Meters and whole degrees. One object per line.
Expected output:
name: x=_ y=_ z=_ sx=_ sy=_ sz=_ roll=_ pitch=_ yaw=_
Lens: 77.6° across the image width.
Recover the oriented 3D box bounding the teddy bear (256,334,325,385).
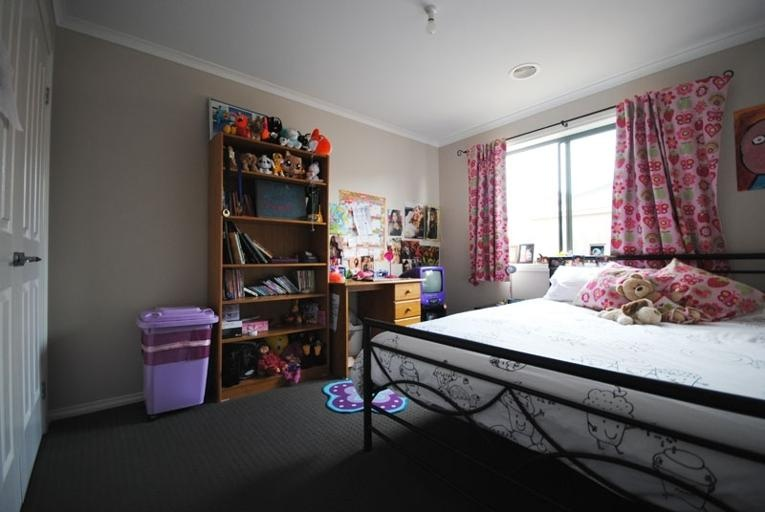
teddy bear: x=-0.859 y=0.939 z=4.383 sx=0.359 sy=0.232 sz=0.492 roll=-1 pitch=-4 yaw=30

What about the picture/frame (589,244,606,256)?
picture/frame: x=2.113 y=-0.060 z=4.703 sx=0.038 sy=0.104 sz=0.107 roll=6 pitch=-5 yaw=-36

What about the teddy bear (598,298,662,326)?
teddy bear: x=1.899 y=0.411 z=3.633 sx=0.284 sy=0.125 sz=0.206 roll=-2 pitch=1 yaw=32

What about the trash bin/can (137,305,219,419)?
trash bin/can: x=-1.656 y=0.775 z=4.067 sx=0.770 sy=1.079 sz=0.721 roll=0 pitch=0 yaw=-41

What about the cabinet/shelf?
cabinet/shelf: x=-1.018 y=0.063 z=4.353 sx=1.130 sy=2.240 sz=0.518 roll=-2 pitch=2 yaw=-22

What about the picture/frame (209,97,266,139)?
picture/frame: x=-1.312 y=-1.224 z=4.270 sx=0.450 sy=0.337 sz=0.034 roll=10 pitch=-27 yaw=-39

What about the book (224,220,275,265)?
book: x=-1.166 y=-0.104 z=4.211 sx=0.288 sy=0.122 sz=0.394 roll=28 pitch=5 yaw=29

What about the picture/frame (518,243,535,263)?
picture/frame: x=1.566 y=-0.028 z=5.200 sx=0.016 sy=0.225 sz=0.186 roll=8 pitch=0 yaw=-38
